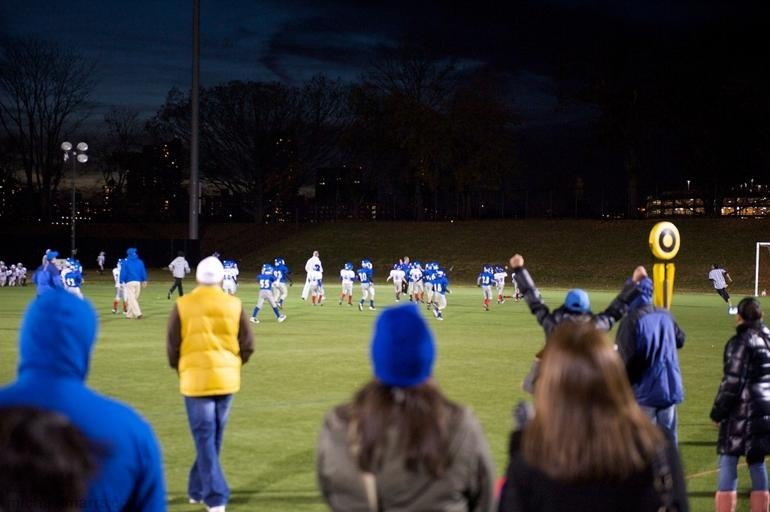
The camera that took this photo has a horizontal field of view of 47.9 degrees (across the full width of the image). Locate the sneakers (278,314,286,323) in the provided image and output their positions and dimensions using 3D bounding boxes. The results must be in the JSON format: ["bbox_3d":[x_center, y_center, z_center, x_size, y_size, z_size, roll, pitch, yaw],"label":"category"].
[{"bbox_3d":[-2.792,1.690,23.638,0.184,0.211,0.481,-5,-8,-3],"label":"sneakers"}]

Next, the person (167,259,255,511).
[{"bbox_3d":[-1.627,1.201,8.126,0.784,2.385,0.338,1,-1,-14],"label":"person"}]

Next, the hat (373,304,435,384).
[{"bbox_3d":[0.103,0.544,5.210,0.374,0.480,0.136,-2,5,4],"label":"hat"}]

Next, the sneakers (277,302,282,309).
[{"bbox_3d":[-3.184,1.466,26.305,0.102,0.279,0.122,-12,14,7],"label":"sneakers"}]

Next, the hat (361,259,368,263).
[{"bbox_3d":[-0.865,0.173,38.168,0.264,0.138,0.269,2,7,33],"label":"hat"}]

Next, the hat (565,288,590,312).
[{"bbox_3d":[1.829,0.409,8.232,0.221,0.216,0.346,0,-1,16],"label":"hat"}]

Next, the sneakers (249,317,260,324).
[{"bbox_3d":[-3.478,1.705,23.278,0.382,0.157,0.128,6,9,38],"label":"sneakers"}]

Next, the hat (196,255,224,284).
[{"bbox_3d":[-1.622,0.111,8.136,0.272,0.253,0.261,1,5,-38],"label":"hat"}]

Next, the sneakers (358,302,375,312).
[{"bbox_3d":[-0.641,1.705,29.371,0.710,0.282,0.238,-4,-2,26],"label":"sneakers"}]
